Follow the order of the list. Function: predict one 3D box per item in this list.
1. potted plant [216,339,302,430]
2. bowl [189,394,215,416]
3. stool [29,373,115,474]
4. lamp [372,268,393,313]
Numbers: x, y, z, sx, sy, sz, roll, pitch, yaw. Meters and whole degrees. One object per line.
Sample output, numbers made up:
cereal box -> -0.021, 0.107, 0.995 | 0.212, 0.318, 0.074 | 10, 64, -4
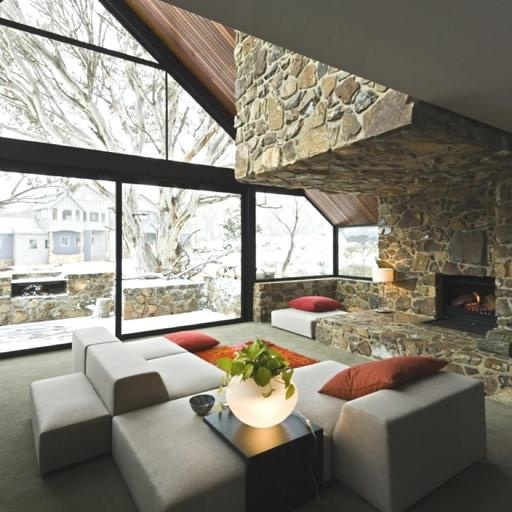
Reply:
potted plant -> 0.059, 0.686, 1.965 | 0.405, 0.405, 0.473 | 5, 10, -10
bowl -> -0.332, 0.906, 2.288 | 0.112, 0.063, 0.115 | -1, -1, 0
stool -> -1.295, 1.076, 2.586 | 0.417, 0.263, 0.724 | -4, 11, -35
lamp -> 1.975, 0.537, 5.880 | 0.293, 0.707, 0.674 | -1, 0, 19
